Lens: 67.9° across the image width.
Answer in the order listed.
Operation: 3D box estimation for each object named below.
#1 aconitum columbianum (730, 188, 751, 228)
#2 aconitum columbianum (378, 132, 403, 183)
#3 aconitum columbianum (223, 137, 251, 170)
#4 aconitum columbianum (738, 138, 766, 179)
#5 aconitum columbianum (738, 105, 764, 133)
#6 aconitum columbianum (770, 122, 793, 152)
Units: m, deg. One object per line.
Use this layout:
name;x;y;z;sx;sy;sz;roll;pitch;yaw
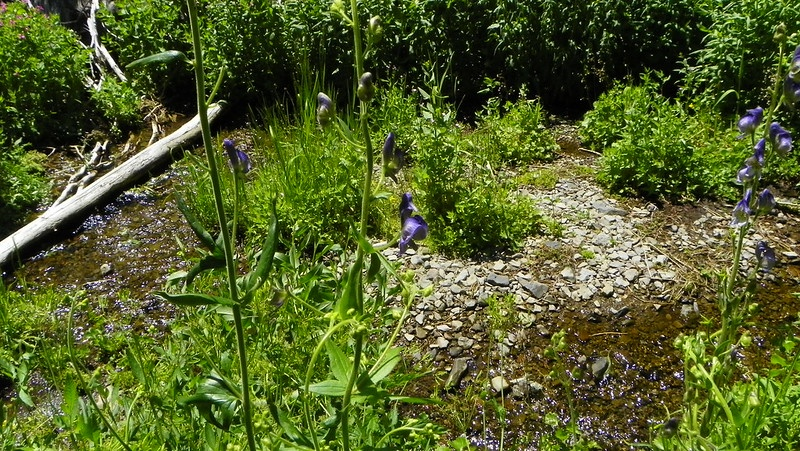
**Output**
aconitum columbianum;2.565;-0.124;4.460;0.146;0.269;0.077;13;26;37
aconitum columbianum;-0.071;-0.435;3.919;0.147;0.278;0.080;-19;14;-39
aconitum columbianum;-1.130;-0.473;4.142;0.149;0.269;0.157;24;36;33
aconitum columbianum;2.633;-0.486;4.413;0.137;0.336;0.186;21;34;29
aconitum columbianum;2.604;-0.784;4.406;0.137;0.186;0.168;20;34;27
aconitum columbianum;2.780;-0.633;4.379;0.159;0.207;0.096;13;-19;-24
